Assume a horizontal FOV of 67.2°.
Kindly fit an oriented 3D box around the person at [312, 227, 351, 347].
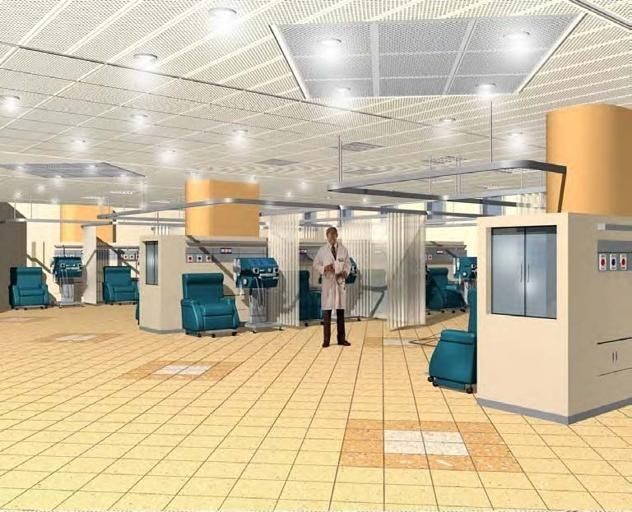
[{"bbox_3d":[0.274,0.506,8.084,0.553,1.407,0.608,-1,0,31],"label":"person"}]
